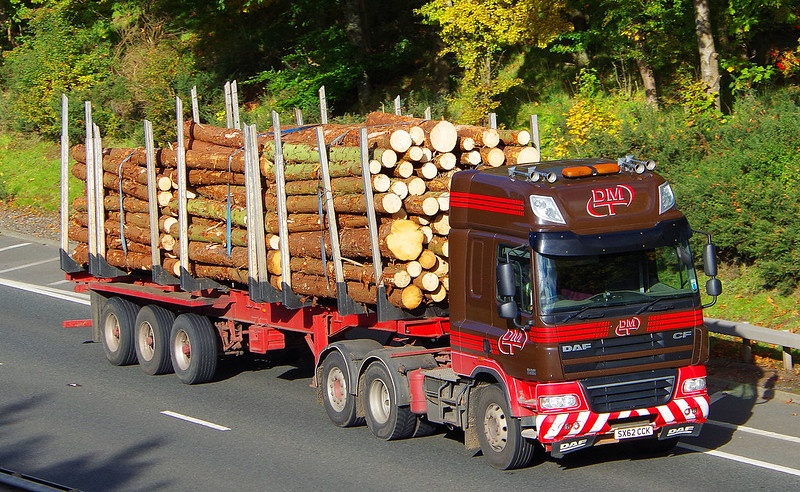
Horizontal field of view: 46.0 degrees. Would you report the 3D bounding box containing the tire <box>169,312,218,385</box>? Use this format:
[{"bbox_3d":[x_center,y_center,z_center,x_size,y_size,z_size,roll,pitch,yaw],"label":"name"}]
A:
[{"bbox_3d":[-4.590,2.324,21.256,0.590,1.717,1.588,-2,-1,-39],"label":"tire"}]

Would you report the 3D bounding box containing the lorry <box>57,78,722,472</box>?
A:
[{"bbox_3d":[-1.572,0.175,21.752,6.109,6.289,16.393,-8,11,-41],"label":"lorry"}]

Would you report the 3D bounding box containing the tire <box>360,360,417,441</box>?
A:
[{"bbox_3d":[-0.146,2.959,18.144,0.397,1.289,1.194,-9,28,-35],"label":"tire"}]

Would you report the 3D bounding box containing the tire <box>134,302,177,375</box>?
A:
[{"bbox_3d":[-5.625,2.188,21.947,0.623,1.834,1.682,1,-3,-34],"label":"tire"}]

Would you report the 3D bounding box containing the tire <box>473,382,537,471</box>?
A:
[{"bbox_3d":[1.928,3.207,16.816,0.649,1.480,1.699,-4,2,-21],"label":"tire"}]

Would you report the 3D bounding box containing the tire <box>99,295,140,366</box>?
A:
[{"bbox_3d":[-6.686,2.070,22.715,0.583,1.678,1.704,0,-2,-31],"label":"tire"}]
